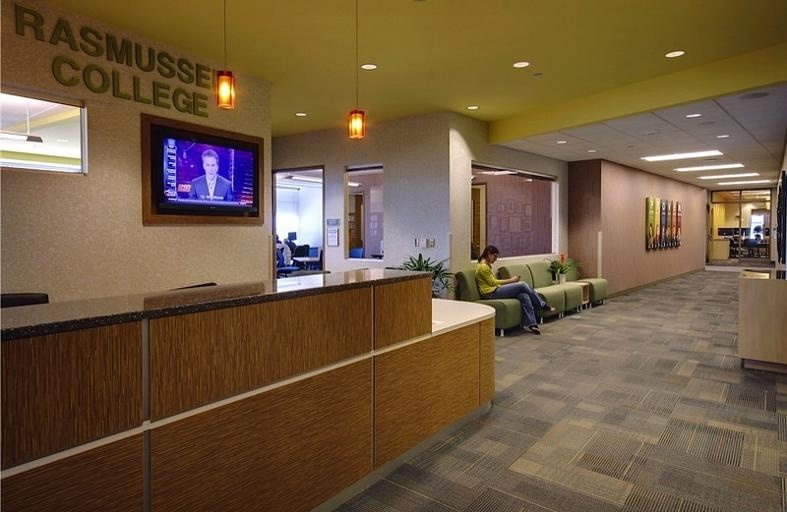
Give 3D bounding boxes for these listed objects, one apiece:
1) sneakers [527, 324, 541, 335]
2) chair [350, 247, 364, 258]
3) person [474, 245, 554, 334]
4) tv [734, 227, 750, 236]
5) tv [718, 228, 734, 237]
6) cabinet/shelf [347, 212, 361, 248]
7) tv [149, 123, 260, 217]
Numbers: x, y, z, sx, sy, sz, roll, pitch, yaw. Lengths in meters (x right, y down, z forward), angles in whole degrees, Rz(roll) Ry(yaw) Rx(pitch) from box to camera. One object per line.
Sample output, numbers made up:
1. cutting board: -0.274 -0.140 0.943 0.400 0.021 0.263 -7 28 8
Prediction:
1. sneakers: 2.294 1.190 7.903 0.098 0.206 0.288 -1 5 -25
2. chair: -0.785 -0.075 10.508 0.200 0.262 0.225 0 -3 0
3. person: 1.953 0.530 8.104 1.150 1.372 0.844 3 11 17
4. tv: 14.713 -1.034 20.641 0.213 0.397 0.419 3 2 -10
5. tv: 14.576 -1.049 21.440 0.381 0.277 0.113 1 -13 19
6. cabinet/shelf: -0.951 -0.683 12.083 0.322 0.874 0.109 -1 -8 -7
7. tv: -2.286 -1.026 5.777 0.134 0.890 1.254 -1 -1 43
